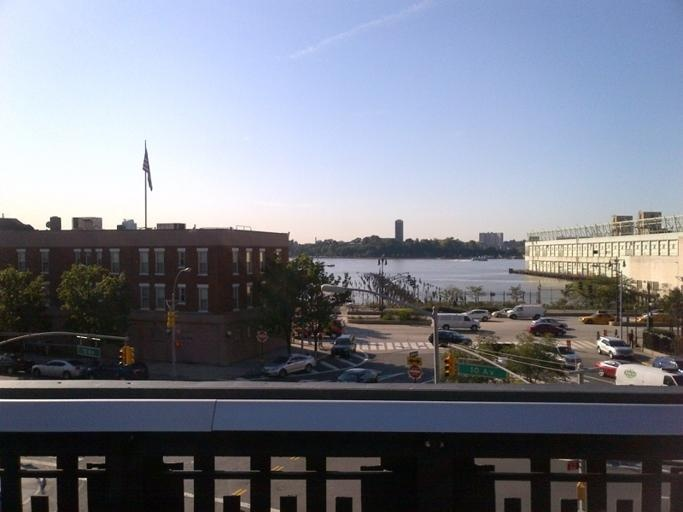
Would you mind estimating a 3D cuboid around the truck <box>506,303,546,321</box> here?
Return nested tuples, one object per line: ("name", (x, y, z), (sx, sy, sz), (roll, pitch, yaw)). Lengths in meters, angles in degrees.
("truck", (17.898, 5.602, 102.317), (2.948, 1.379, 1.533), (1, 1, 6))

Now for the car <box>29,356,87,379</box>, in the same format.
("car", (-20.514, 8.223, 75.469), (4.082, 1.325, 1.399), (-3, -4, 28))

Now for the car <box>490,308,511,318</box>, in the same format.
("car", (15.816, 5.790, 104.302), (1.499, 0.719, 0.923), (2, -6, 2))

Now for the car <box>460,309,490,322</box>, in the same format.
("car", (12.894, 5.728, 99.609), (2.143, 0.945, 1.263), (3, -2, -1))

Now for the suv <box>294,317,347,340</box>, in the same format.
("suv", (-2.173, 6.208, 88.149), (4.258, 1.812, 1.815), (-2, 3, 1))

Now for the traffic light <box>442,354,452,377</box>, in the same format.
("traffic light", (6.402, 6.639, 63.086), (0.580, 1.206, 0.497), (-1, -4, 4))

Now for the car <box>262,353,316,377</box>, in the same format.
("car", (-4.009, 8.037, 76.322), (3.200, 1.046, 1.450), (1, -2, -42))

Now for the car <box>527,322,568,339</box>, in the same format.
("car", (17.354, 6.394, 88.550), (2.615, 1.217, 1.350), (-3, 9, -2))

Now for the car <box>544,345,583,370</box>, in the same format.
("car", (15.799, 7.463, 73.444), (1.968, 1.845, 3.810), (-2, -4, -10))
